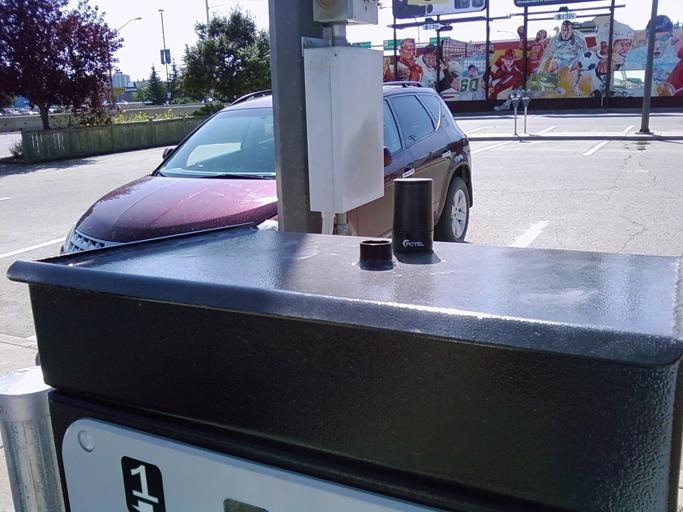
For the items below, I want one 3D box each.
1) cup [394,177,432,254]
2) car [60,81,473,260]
[{"bbox_3d":[0.237,-0.135,1.783,0.131,0.235,0.150,0,11,6],"label":"cup"},{"bbox_3d":[-0.156,-0.922,5.515,1.949,1.805,4.392,9,19,36],"label":"car"}]
